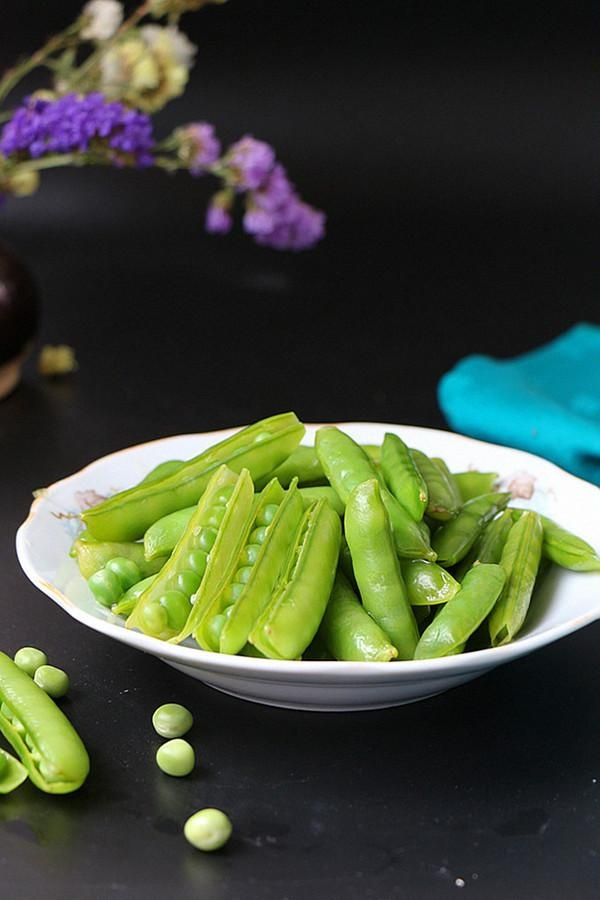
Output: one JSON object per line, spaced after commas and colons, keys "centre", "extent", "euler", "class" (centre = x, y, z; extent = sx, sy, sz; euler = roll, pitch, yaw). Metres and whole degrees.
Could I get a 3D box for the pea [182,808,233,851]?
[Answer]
{"centre": [-0.068, 0.281, 0.640], "extent": [0.029, 0.032, 0.029], "euler": [-32, 46, -32], "class": "pea"}
